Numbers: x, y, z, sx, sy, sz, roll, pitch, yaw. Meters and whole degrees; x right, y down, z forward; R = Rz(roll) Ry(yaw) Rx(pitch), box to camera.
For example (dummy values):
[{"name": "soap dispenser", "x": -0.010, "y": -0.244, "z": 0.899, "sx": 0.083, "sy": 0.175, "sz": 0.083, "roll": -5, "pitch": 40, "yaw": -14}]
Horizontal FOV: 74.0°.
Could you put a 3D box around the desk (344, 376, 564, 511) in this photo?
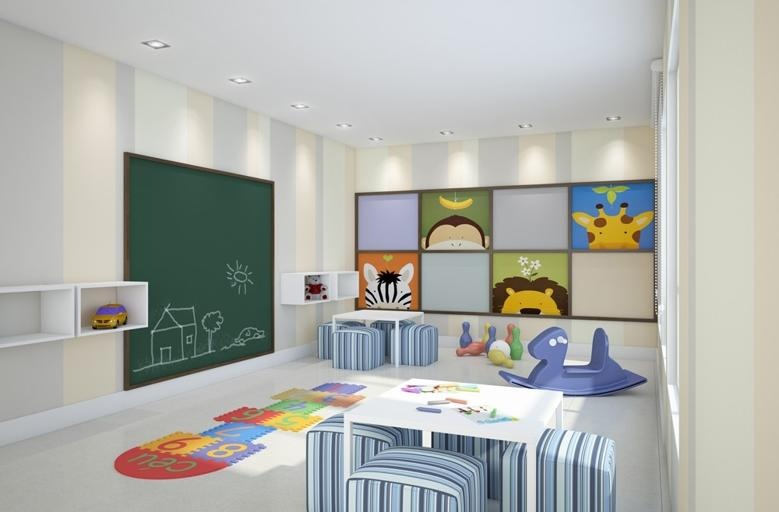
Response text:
[{"name": "desk", "x": 0.383, "y": 0.943, "z": 2.893, "sx": 0.779, "sy": 0.418, "sz": 0.702, "roll": 0, "pitch": -1, "yaw": 14}]

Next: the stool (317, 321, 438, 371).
[{"name": "stool", "x": -0.114, "y": 1.115, "z": 6.564, "sx": 0.831, "sy": 0.283, "sz": 0.836, "roll": 0, "pitch": -1, "yaw": 40}]

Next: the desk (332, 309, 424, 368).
[{"name": "desk", "x": -0.100, "y": 1.056, "z": 6.983, "sx": 0.813, "sy": 0.479, "sz": 0.820, "roll": -1, "pitch": -3, "yaw": 24}]

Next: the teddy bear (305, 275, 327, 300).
[{"name": "teddy bear", "x": -1.009, "y": 0.438, "z": 7.119, "sx": 0.304, "sy": 0.349, "sz": 0.455, "roll": -3, "pitch": 1, "yaw": -8}]

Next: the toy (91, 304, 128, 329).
[{"name": "toy", "x": -2.445, "y": 0.526, "z": 4.511, "sx": 0.164, "sy": 0.131, "sz": 0.254, "roll": -1, "pitch": -5, "yaw": -4}]
